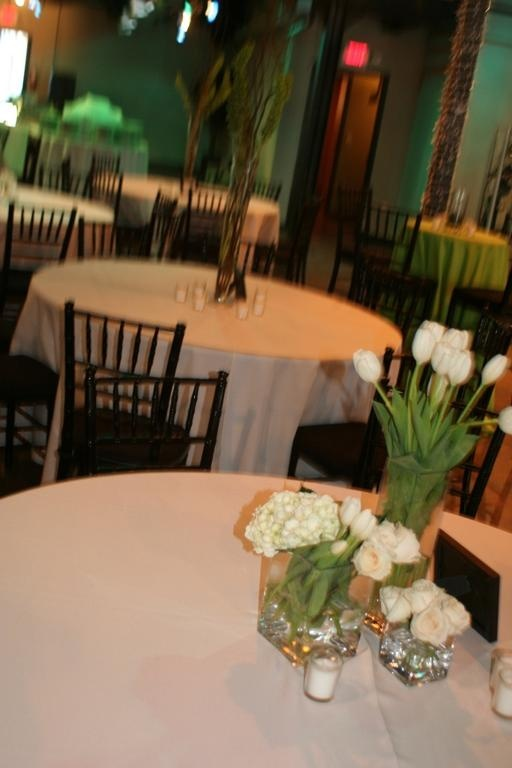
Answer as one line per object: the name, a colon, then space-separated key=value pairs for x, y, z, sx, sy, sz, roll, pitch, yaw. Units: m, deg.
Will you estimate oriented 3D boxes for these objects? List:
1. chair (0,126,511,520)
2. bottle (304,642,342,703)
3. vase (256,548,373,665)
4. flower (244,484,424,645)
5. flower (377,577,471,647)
chair: x=-0.184 y=-0.109 z=2.567 sx=1.537 sy=0.671 sz=1.006 roll=16 pitch=12 yaw=17
bottle: x=0.079 y=0.351 z=0.681 sx=0.039 sy=0.060 sz=0.054 roll=13 pitch=11 yaw=8
vase: x=0.075 y=0.290 z=0.748 sx=0.114 sy=0.135 sz=0.123 roll=4 pitch=4 yaw=4
flower: x=0.092 y=0.230 z=0.698 sx=0.189 sy=0.193 sz=0.186 roll=8 pitch=1 yaw=-4
flower: x=0.202 y=0.288 z=0.689 sx=0.091 sy=0.065 sz=0.110 roll=-5 pitch=13 yaw=-5
